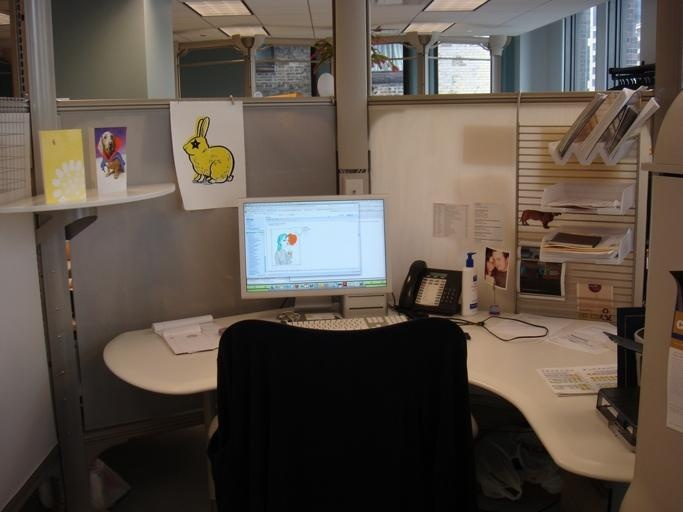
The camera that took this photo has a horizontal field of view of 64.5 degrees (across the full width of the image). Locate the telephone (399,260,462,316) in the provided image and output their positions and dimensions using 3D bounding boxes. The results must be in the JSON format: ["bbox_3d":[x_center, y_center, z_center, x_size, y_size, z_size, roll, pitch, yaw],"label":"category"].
[{"bbox_3d":[0.385,0.128,2.304,0.251,0.230,0.154,4,-5,31],"label":"telephone"}]

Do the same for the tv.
[{"bbox_3d":[-0.099,-0.018,2.168,0.477,0.428,0.177,-1,2,-4],"label":"tv"}]

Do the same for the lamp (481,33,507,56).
[{"bbox_3d":[2.384,-3.317,8.470,0.373,0.306,0.333,4,13,10],"label":"lamp"}]

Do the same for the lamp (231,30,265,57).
[{"bbox_3d":[-1.260,-2.861,7.287,0.378,0.390,1.024,-3,15,-12],"label":"lamp"}]

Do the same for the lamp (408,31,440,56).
[{"bbox_3d":[1.059,-2.864,7.224,0.291,0.360,0.997,3,15,13],"label":"lamp"}]

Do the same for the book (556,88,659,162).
[{"bbox_3d":[0.948,-0.483,2.007,0.324,0.273,0.348,5,16,21],"label":"book"}]

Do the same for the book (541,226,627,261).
[{"bbox_3d":[0.937,-0.049,2.081,0.306,0.120,0.234,8,17,30],"label":"book"}]
